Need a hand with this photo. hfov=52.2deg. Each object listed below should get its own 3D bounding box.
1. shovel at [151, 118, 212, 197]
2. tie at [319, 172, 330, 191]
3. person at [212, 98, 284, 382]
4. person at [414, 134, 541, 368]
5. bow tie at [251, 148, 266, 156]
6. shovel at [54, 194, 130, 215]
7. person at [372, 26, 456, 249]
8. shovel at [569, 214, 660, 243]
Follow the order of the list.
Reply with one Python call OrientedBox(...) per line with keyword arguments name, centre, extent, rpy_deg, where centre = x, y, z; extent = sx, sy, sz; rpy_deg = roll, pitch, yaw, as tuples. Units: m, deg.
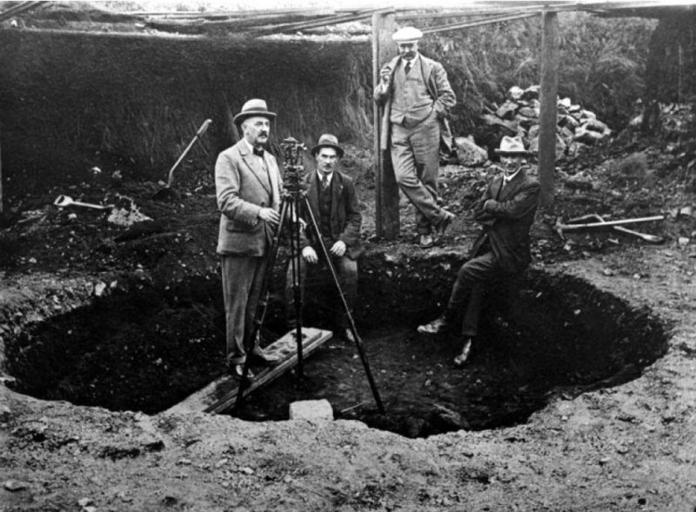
OrientedBox(name="shovel", centre=(-1.406, -0.833, 5.878), extent=(0.101, 0.698, 0.103), rpy_deg=(32, 3, -19))
OrientedBox(name="tie", centre=(-0.217, -0.691, 6.431), extent=(0.144, 0.155, 0.037), rpy_deg=(2, 4, -1))
OrientedBox(name="person", centre=(-0.788, -0.159, 6.167), extent=(0.622, 2.342, 0.834), rpy_deg=(4, 9, 22))
OrientedBox(name="person", centre=(1.214, -0.151, 6.497), extent=(0.969, 2.083, 0.879), rpy_deg=(10, 21, 14))
OrientedBox(name="bow tie", centre=(-0.772, -0.892, 6.021), extent=(0.069, 0.051, 0.093), rpy_deg=(1, -4, -14))
OrientedBox(name="shovel", centre=(-2.080, -0.422, 5.758), extent=(0.583, 0.170, 0.101), rpy_deg=(6, 7, -2))
OrientedBox(name="person", centre=(0.627, -1.104, 6.514), extent=(0.717, 1.977, 0.549), rpy_deg=(-2, 1, 6))
OrientedBox(name="shovel", centre=(2.282, -0.242, 6.160), extent=(0.909, 0.238, 0.110), rpy_deg=(-1, 23, 3))
